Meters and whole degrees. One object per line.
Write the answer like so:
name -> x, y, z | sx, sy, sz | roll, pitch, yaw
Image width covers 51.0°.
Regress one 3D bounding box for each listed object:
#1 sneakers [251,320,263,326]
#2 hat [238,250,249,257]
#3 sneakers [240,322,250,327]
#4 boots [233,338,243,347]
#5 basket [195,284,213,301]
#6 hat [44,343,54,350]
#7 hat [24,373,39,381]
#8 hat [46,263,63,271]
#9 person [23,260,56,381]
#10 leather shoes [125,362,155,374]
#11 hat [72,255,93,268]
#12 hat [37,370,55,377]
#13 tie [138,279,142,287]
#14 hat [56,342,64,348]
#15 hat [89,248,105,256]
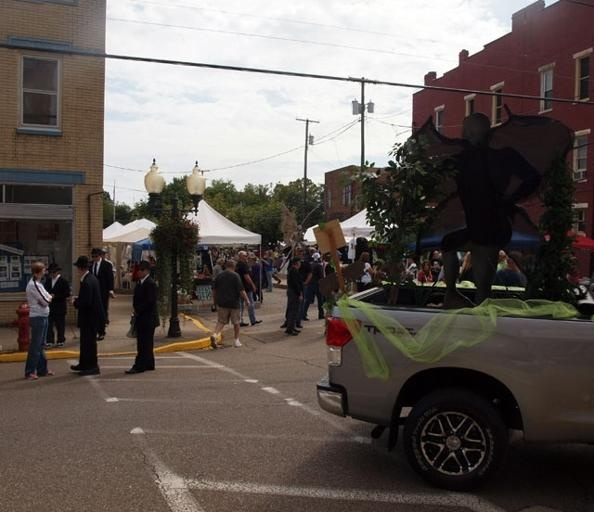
sneakers -> -1.127, 1.833, 17.155 | 0.301, 0.147, 0.094 | -19, 15, -39
hat -> -1.387, -0.033, 16.181 | 0.238, 0.135, 0.179 | -11, 13, -38
sneakers -> -1.440, 1.858, 17.000 | 0.241, 0.097, 0.185 | -1, 9, -1
boots -> -1.301, 1.881, 13.655 | 0.087, 0.179, 0.244 | -1, 14, 13
basket -> -3.187, 1.228, 21.427 | 0.571, 0.563, 0.487 | 0, -2, -23
hat -> -5.092, 1.830, 12.780 | 0.120, 0.150, 0.354 | 0, -6, -7
hat -> -4.321, 1.959, 10.139 | 0.174, 0.081, 0.090 | -3, -3, 30
hat -> -4.997, 0.226, 12.874 | 0.172, 0.089, 0.212 | 4, 1, 3
person -> -4.306, 1.054, 10.348 | 0.411, 1.855, 0.600 | -1, 1, -22
leather shoes -> -2.665, 1.902, 10.668 | 0.168, 0.265, 0.525 | -9, -14, 42
hat -> -3.818, 0.105, 11.113 | 0.383, 0.194, 0.460 | 3, 6, -13
hat -> -4.205, 1.937, 10.416 | 0.221, 0.109, 0.085 | -4, 5, -24
tie -> -2.735, 0.445, 10.845 | 0.066, 0.093, 0.094 | 11, -5, -22
hat -> -4.979, 1.856, 13.101 | 0.073, 0.092, 0.198 | 3, -10, -34
hat -> -4.483, -0.099, 13.943 | 0.232, 0.315, 0.341 | -3, 5, -6
